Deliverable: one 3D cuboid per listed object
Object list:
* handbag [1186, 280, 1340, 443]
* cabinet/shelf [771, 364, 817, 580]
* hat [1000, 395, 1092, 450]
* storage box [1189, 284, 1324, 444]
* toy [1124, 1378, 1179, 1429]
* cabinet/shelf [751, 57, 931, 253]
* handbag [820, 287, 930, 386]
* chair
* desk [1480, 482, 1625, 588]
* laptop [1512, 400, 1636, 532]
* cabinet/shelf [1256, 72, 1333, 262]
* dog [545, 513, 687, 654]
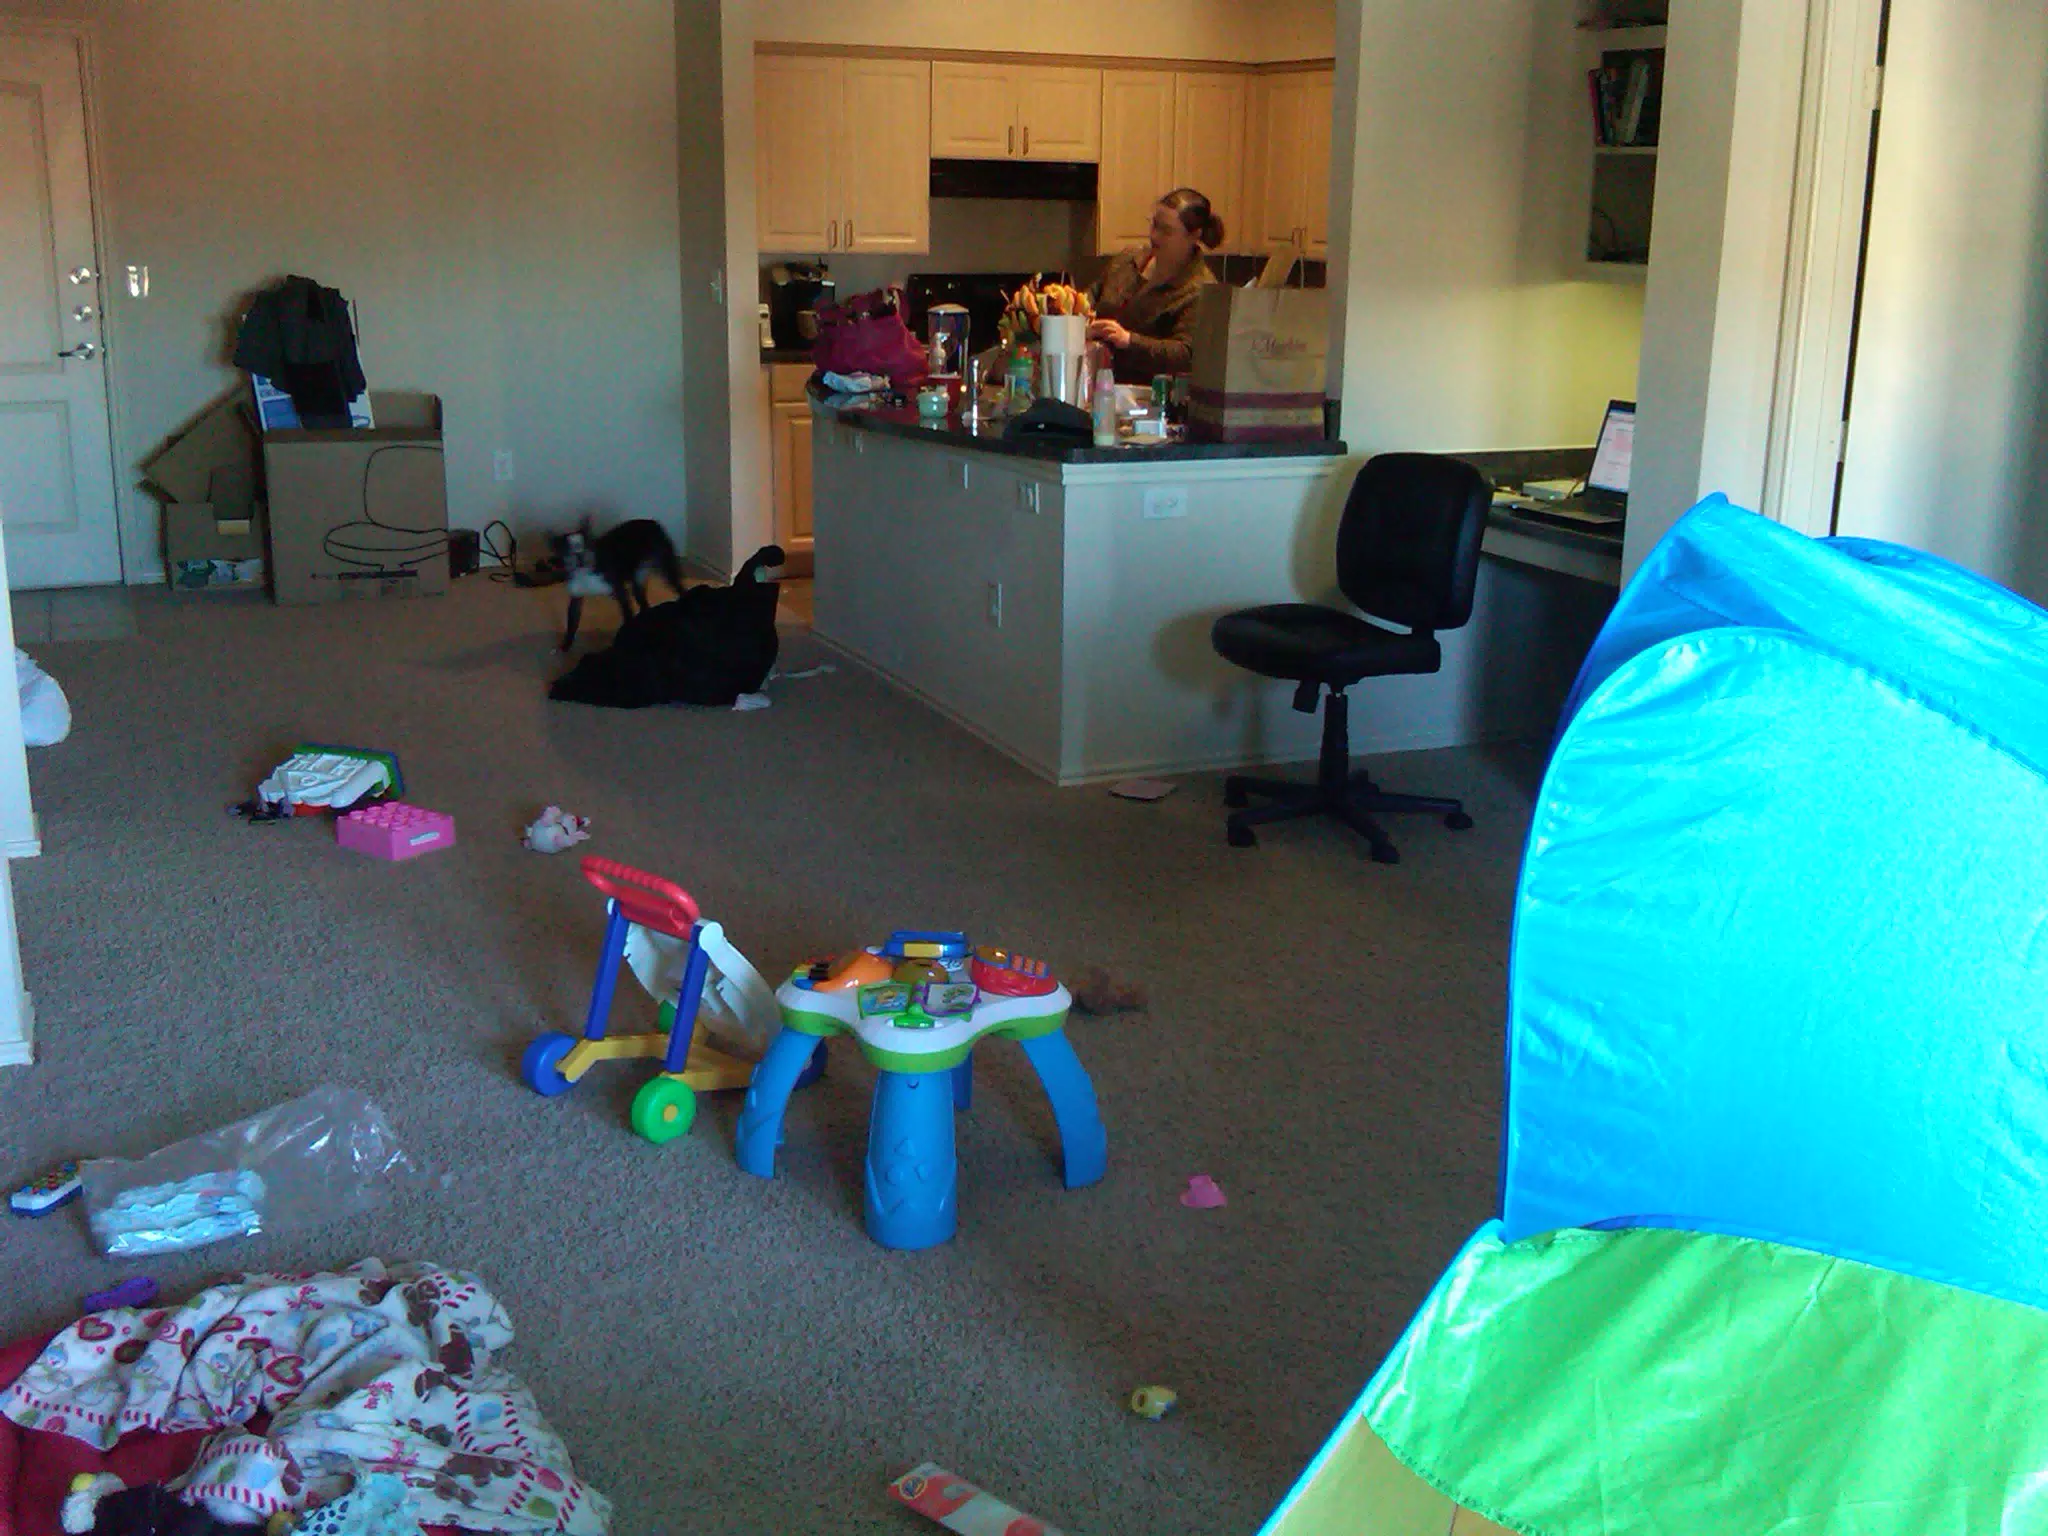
[{"bbox_3d":[0.667,-1.258,5.069,0.456,0.614,0.461,0,21,-2],"label":"handbag"},{"bbox_3d":[-1.079,-1.431,7.540,0.166,0.882,0.231,9,22,25],"label":"cabinet/shelf"},{"bbox_3d":[0.073,-1.032,4.868,0.231,0.117,0.503,-9,22,-23],"label":"hat"},{"bbox_3d":[0.675,-1.262,5.072,0.450,0.598,0.449,0,19,0],"label":"storage box"},{"bbox_3d":[0.176,0.918,2.352,0.049,0.014,0.048,-12,20,-38],"label":"toy"},{"bbox_3d":[-0.889,-2.877,7.545,0.977,0.881,0.405,-3,21,-17],"label":"cabinet/shelf"},{"bbox_3d":[-0.618,-1.667,6.313,0.469,0.329,0.362,3,10,-12],"label":"handbag"},{"bbox_3d":[0.892,-0.319,4.469,0.737,1.016,0.668,0,20,3],"label":"chair"},{"bbox_3d":[1.524,-0.638,4.770,0.341,0.298,0.821,3,20,11],"label":"desk"},{"bbox_3d":[1.623,-0.900,4.858,0.370,0.316,0.438,-9,25,-8],"label":"laptop"},{"bbox_3d":[1.306,-2.972,7.974,0.211,0.849,0.710,-4,20,-10],"label":"cabinet/shelf"},{"bbox_3d":[-1.577,-0.689,6.313,0.460,0.480,0.430,7,21,21],"label":"dog"}]
